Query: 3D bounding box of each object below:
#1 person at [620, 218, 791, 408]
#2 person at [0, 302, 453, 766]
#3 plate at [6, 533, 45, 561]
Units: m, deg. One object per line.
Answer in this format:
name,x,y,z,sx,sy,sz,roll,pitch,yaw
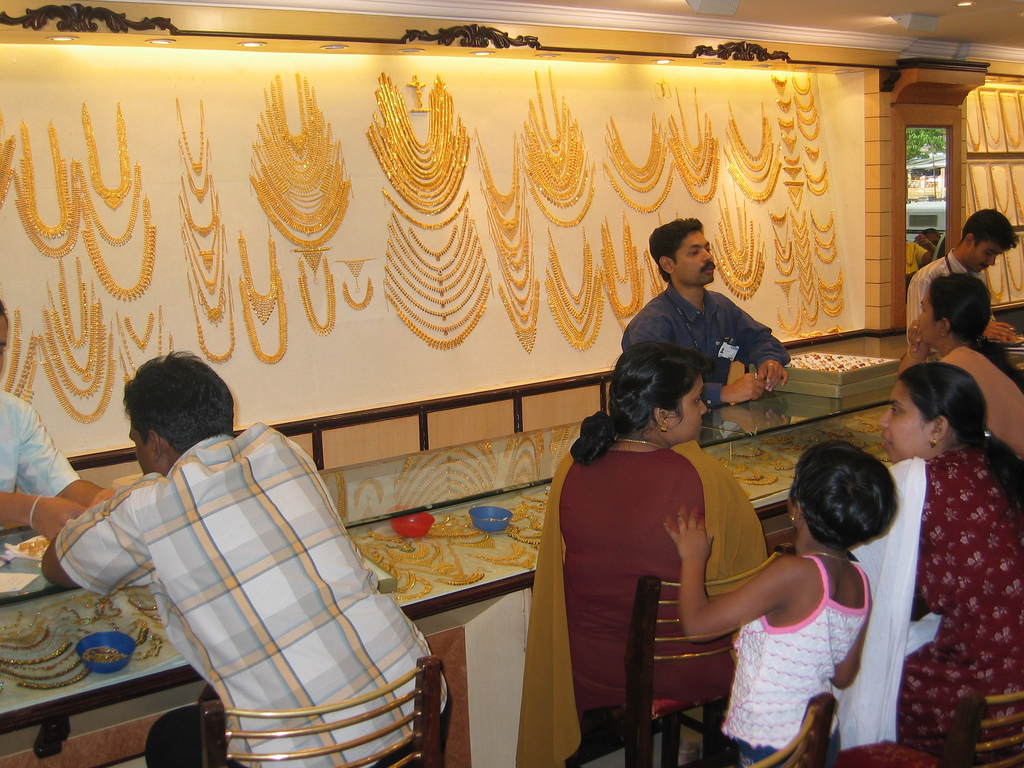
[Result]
person,1.022,-0.311,4.072,0.813,1.107,0.726,-9,13,-15
person,-0.780,0.434,1.965,1.176,1.021,0.485,-1,11,32
plate,-1.456,0.470,2.354,0.082,0.024,0.089,-3,12,-37
